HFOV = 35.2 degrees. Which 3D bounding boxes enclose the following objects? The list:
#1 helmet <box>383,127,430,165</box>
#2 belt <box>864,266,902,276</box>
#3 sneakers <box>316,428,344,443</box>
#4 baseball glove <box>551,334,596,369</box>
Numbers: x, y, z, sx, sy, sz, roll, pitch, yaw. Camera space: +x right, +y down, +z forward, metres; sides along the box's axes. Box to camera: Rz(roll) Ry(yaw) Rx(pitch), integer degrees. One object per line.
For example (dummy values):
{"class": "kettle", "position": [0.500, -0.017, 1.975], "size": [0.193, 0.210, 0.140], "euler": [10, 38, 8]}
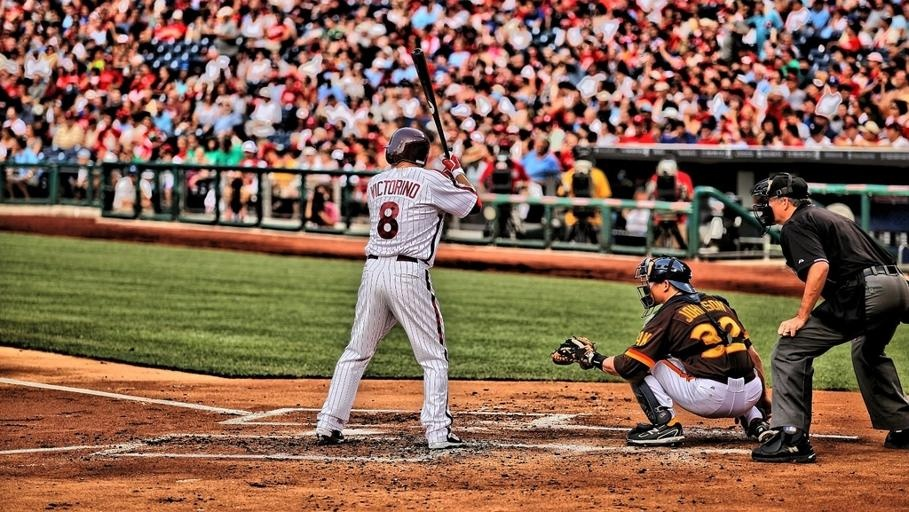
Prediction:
{"class": "helmet", "position": [-0.584, -1.313, 17.477], "size": [0.573, 0.436, 0.387], "euler": [17, 22, -3]}
{"class": "belt", "position": [5.085, 0.188, 17.065], "size": [0.214, 0.055, 0.206], "euler": [8, -18, -42]}
{"class": "sneakers", "position": [-1.546, 2.211, 17.510], "size": [0.399, 0.154, 0.131], "euler": [1, 6, -10]}
{"class": "baseball glove", "position": [1.471, 1.201, 17.613], "size": [0.501, 0.350, 0.230], "euler": [23, -17, 14]}
